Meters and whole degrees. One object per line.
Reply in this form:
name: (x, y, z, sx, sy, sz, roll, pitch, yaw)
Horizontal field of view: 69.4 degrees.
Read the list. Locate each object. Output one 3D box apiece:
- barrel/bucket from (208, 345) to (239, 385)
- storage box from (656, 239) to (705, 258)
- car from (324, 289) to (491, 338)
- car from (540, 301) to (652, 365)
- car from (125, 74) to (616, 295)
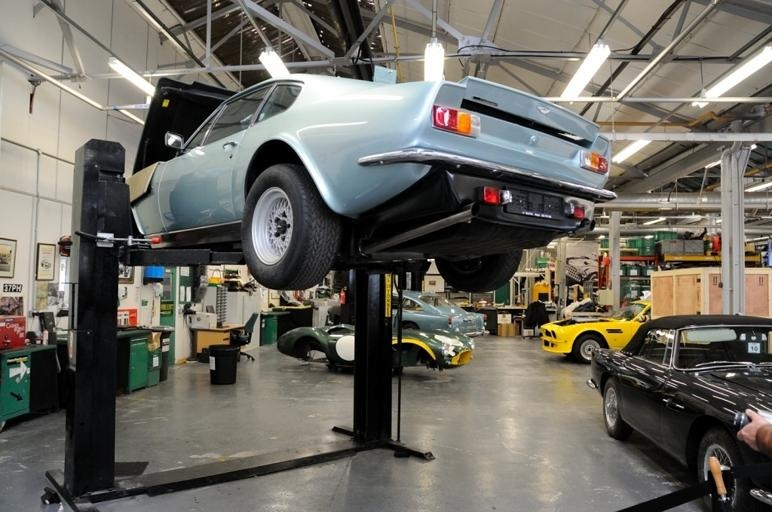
barrel/bucket: (-3.363, 2.339, 11.963, 0.783, 0.718, 0.663, -2, -7, 7)
storage box: (9.943, -0.239, 18.805, 1.359, 0.552, 0.751, -2, -4, 28)
car: (0.560, 1.759, 17.035, 4.635, 1.429, 2.247, 4, 1, 28)
car: (5.551, 2.080, 15.091, 3.604, 1.126, 1.648, -4, 1, -6)
car: (-0.910, -1.004, 6.880, 2.749, 1.950, 5.551, 6, 1, -42)
